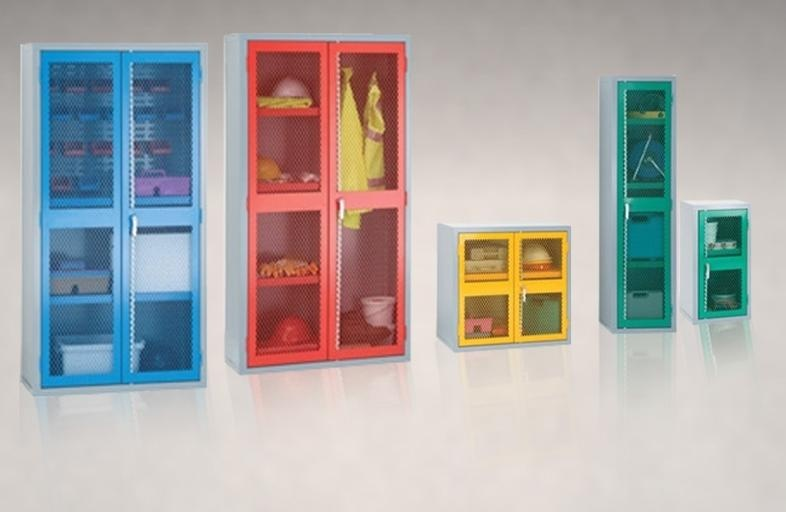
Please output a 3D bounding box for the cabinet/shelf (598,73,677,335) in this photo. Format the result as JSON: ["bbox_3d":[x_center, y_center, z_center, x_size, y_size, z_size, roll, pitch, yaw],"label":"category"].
[{"bbox_3d":[2.843,-0.588,7.652,0.811,2.905,0.726,-2,-4,0],"label":"cabinet/shelf"}]

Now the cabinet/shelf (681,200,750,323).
[{"bbox_3d":[3.969,0.049,8.022,0.766,1.462,0.520,-2,-4,-1],"label":"cabinet/shelf"}]

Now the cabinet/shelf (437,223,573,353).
[{"bbox_3d":[1.233,0.370,7.225,1.431,1.272,0.738,-1,-2,-12],"label":"cabinet/shelf"}]
